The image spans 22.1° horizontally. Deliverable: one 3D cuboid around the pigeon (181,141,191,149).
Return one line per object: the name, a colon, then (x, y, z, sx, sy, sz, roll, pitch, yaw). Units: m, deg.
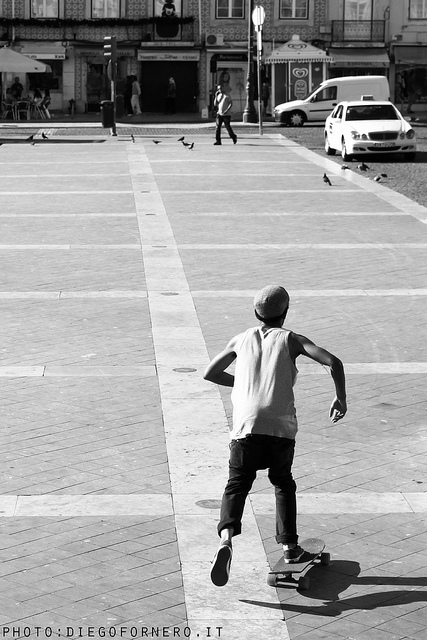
pigeon: (-0.719, -4.797, 29.915, 0.209, 0.165, 0.064, -12, 2, -43)

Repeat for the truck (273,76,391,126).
truck: (4.345, -7.491, 40.135, 4.266, 2.149, 2.652, 3, 15, 9)

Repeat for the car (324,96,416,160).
car: (3.988, -4.753, 27.351, 1.730, 1.359, 2.326, -1, 12, -8)

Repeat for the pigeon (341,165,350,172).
pigeon: (2.893, -3.306, 23.875, 0.173, 0.132, 0.072, -1, 11, 24)

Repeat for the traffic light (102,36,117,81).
traffic light: (-3.321, -8.450, 35.443, 0.351, 1.317, 0.901, -2, 11, -12)

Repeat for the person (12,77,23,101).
person: (-8.571, -10.093, 47.965, 0.404, 0.963, 1.646, -2, 12, -11)

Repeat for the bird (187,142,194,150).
bird: (-0.565, -4.677, 29.574, 0.086, 0.121, 0.298, 5, 27, -15)

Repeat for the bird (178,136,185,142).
bird: (-0.878, -5.218, 31.446, 0.192, 0.078, 0.250, -24, 1, -14)
